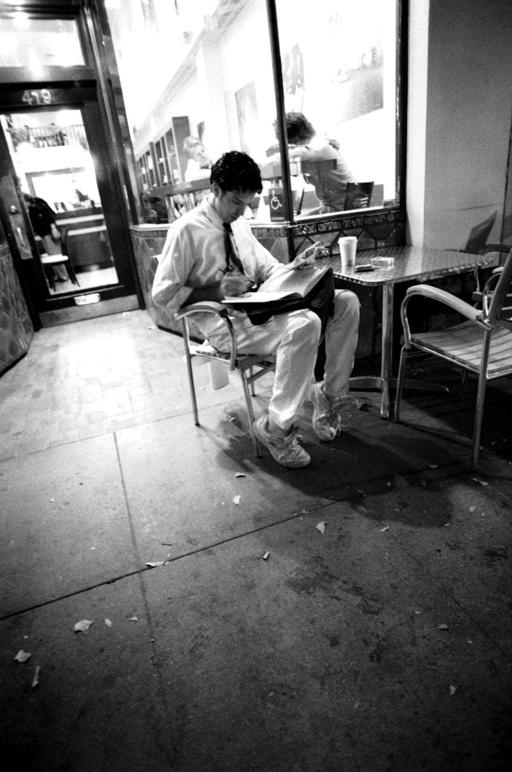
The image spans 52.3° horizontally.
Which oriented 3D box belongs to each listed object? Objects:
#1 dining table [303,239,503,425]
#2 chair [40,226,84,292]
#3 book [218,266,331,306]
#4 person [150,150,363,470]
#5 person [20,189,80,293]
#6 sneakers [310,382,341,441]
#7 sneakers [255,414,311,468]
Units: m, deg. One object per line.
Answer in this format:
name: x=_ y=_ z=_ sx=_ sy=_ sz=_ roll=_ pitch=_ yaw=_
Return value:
dining table: x=0.717 y=-0.290 z=2.936 sx=0.917 sy=0.960 sz=0.925 roll=-24 pitch=37 yaw=-32
chair: x=-2.201 y=-1.426 z=5.850 sx=0.357 sy=0.619 sz=0.349 roll=-12 pitch=17 yaw=-16
book: x=0.098 y=-0.436 z=2.292 sx=0.348 sy=0.081 sz=0.552 roll=4 pitch=25 yaw=28
person: x=0.033 y=-0.379 z=2.474 sx=0.766 sy=1.391 sz=0.648 roll=10 pitch=27 yaw=36
person: x=-2.206 y=-1.560 z=5.627 sx=0.106 sy=1.007 sz=0.403 roll=7 pitch=24 yaw=32
sneakers: x=0.325 y=0.149 z=2.472 sx=0.098 sy=0.309 sz=0.123 roll=-4 pitch=-11 yaw=1
sneakers: x=0.102 y=0.229 z=2.310 sx=0.289 sy=0.233 sz=0.138 roll=10 pitch=26 yaw=38
